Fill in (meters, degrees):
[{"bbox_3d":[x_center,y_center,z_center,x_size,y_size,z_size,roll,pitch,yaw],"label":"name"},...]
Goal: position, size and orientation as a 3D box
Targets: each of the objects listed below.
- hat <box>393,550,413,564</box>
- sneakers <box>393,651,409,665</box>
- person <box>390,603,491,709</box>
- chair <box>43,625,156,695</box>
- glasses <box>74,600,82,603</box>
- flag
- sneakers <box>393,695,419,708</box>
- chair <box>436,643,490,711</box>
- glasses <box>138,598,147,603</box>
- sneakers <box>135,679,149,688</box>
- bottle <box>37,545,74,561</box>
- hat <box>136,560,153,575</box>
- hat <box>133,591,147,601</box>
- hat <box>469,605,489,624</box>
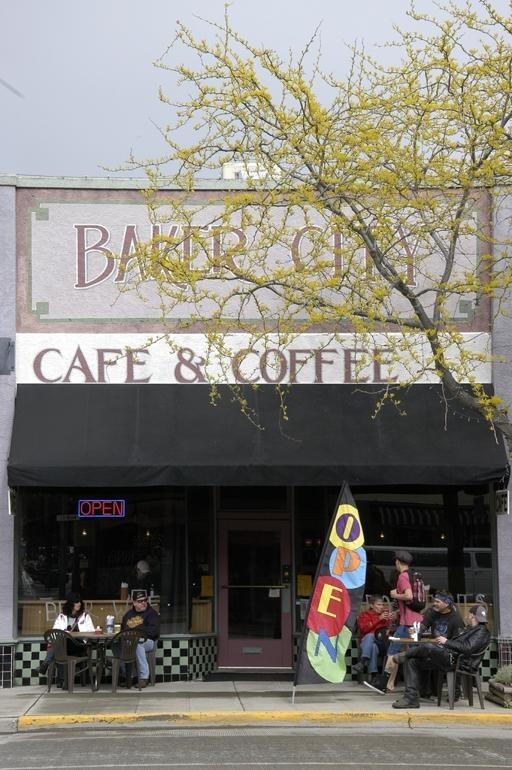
[{"bbox_3d":[1.827,2.156,13.511,0.175,0.086,0.228,12,9,-14],"label":"hat"},{"bbox_3d":[1.737,3.276,12.916,0.166,0.105,0.219,15,-50,-5],"label":"sneakers"},{"bbox_3d":[2.172,3.192,12.670,1.231,1.112,0.404,1,-6,-15],"label":"person"},{"bbox_3d":[-2.084,3.479,13.779,1.115,0.626,1.078,1,-3,-24],"label":"chair"},{"bbox_3d":[-2.295,2.811,13.961,0.071,0.066,0.036,4,-5,-16],"label":"glasses"},{"bbox_3d":[0.908,2.322,12.604,0.472,2.274,0.966,-5,-8,38],"label":"flag"},{"bbox_3d":[1.720,3.640,12.344,0.305,0.137,0.118,6,-13,-6],"label":"sneakers"},{"bbox_3d":[2.443,3.551,12.811,0.674,0.916,0.727,4,-15,-10],"label":"chair"},{"bbox_3d":[-1.463,2.792,13.922,0.061,0.057,0.020,2,13,-2],"label":"glasses"},{"bbox_3d":[-1.437,3.833,13.794,0.173,0.155,0.074,7,-8,-11],"label":"sneakers"},{"bbox_3d":[-2.664,2.258,14.467,0.460,0.185,0.086,0,-6,-5],"label":"bottle"},{"bbox_3d":[-1.519,2.474,14.648,0.154,0.146,0.198,-5,17,-43],"label":"hat"},{"bbox_3d":[-1.495,2.757,14.086,0.209,0.124,0.192,2,-19,-9],"label":"hat"},{"bbox_3d":[2.675,2.763,12.980,0.190,0.152,0.278,7,2,-14],"label":"hat"}]
